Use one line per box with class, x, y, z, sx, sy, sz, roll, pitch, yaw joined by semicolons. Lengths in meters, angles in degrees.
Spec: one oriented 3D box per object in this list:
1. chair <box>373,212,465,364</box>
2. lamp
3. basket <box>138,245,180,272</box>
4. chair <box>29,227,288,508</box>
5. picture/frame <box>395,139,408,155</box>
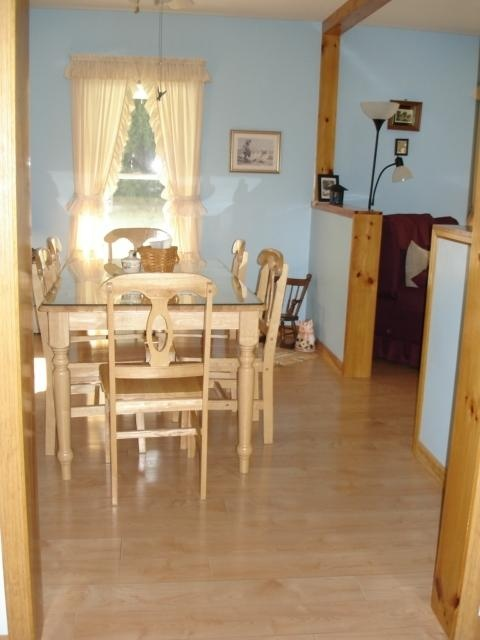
chair;1.273;-0.255;4.325;0.372;1.147;0.763;4;10;18
lamp;1.119;-1.180;4.236;0.369;0.956;0.273;0;2;8
basket;-0.400;-0.337;2.788;0.165;0.122;0.162;-4;10;-16
chair;-0.311;0.143;2.425;0.920;0.892;1.119;-1;8;-3
picture/frame;1.484;-1.609;5.072;0.134;0.177;0.017;-1;21;-3
